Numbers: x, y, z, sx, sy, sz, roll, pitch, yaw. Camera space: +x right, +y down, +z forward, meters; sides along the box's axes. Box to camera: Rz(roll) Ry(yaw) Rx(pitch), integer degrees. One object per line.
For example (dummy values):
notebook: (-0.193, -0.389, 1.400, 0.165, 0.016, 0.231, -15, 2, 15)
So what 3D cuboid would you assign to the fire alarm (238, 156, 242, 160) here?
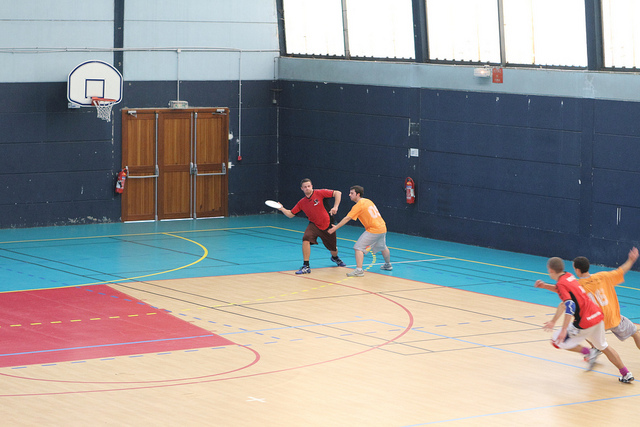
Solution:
fire alarm: (-2.502, -1.738, 19.989, 0.154, 0.092, 0.084, 4, -1, -7)

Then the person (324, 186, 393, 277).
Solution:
person: (0.902, 0.354, 13.603, 0.979, 1.902, 1.365, 5, 10, 26)

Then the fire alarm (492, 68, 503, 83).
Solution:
fire alarm: (4.472, -3.484, 16.062, 0.317, 0.450, 0.048, 12, 21, 39)

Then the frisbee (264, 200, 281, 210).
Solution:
frisbee: (-1.272, -0.252, 16.875, 0.294, 0.078, 0.302, 10, 22, 8)

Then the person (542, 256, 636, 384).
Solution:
person: (3.451, 1.408, 8.257, 0.932, 1.625, 1.675, 8, 12, 40)

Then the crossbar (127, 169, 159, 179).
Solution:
crossbar: (-5.195, -1.145, 18.788, 0.886, 0.226, 0.119, -1, 9, -15)

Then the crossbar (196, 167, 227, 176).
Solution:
crossbar: (-3.337, -1.287, 19.634, 0.961, 0.244, 0.097, -3, 10, -25)
